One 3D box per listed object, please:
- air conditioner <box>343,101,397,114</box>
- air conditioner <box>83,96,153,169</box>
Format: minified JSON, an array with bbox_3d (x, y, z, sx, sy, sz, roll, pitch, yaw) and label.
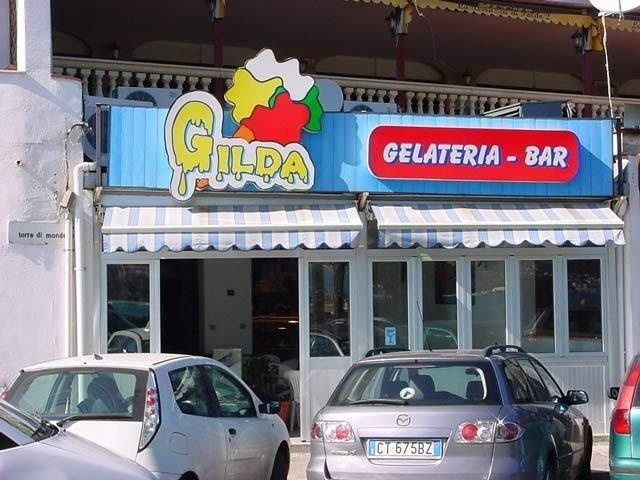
[{"bbox_3d":[0.945,-2.527,19.831,0.580,0.155,0.560,2,0,-8],"label":"air conditioner"},{"bbox_3d":[-3.377,-1.755,17.625,1.283,1.295,0.325,2,-1,-19],"label":"air conditioner"}]
